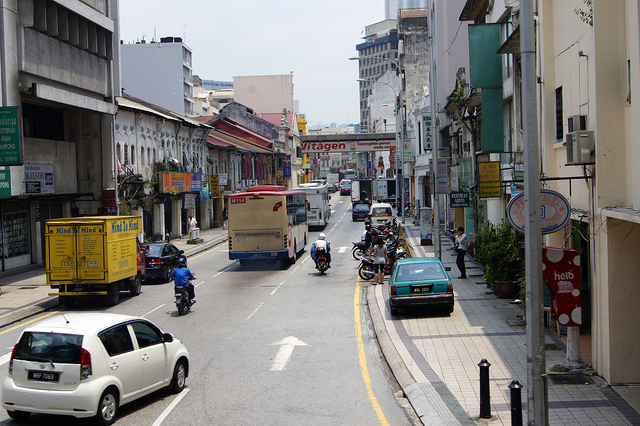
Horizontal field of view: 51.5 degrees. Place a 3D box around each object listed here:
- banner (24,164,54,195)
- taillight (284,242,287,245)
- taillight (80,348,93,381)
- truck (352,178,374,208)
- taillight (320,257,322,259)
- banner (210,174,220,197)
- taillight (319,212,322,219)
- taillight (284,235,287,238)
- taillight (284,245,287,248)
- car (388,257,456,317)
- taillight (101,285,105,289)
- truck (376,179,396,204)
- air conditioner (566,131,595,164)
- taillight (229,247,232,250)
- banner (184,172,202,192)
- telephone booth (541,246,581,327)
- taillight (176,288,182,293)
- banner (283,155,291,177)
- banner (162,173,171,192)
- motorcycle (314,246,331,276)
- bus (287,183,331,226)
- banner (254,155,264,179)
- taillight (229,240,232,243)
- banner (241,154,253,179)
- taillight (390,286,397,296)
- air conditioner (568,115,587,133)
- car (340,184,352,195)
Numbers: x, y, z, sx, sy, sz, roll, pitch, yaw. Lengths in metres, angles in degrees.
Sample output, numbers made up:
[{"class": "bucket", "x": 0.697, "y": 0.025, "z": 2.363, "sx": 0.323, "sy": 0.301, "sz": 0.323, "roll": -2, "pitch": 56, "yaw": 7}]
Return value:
[{"class": "banner", "x": -15.170, "y": -1.859, "z": 35.990, "sx": 2.251, "sy": 1.688, "sz": 0.185, "roll": 0, "pitch": 4, "yaw": 26}, {"class": "taillight", "x": -1.948, "y": 1.625, "z": 36.408, "sx": 0.110, "sy": 0.132, "sz": 0.119, "roll": -1, "pitch": -6, "yaw": -2}, {"class": "taillight", "x": -5.779, "y": 3.703, "z": 16.341, "sx": 0.262, "sy": 0.533, "sz": 0.156, "roll": -3, "pitch": 3, "yaw": 2}, {"class": "truck", "x": 5.412, "y": -3.002, "z": 84.852, "sx": 2.227, "sy": 4.807, "sz": 4.621, "roll": 0, "pitch": -1, "yaw": 1}, {"class": "taillight", "x": 0.007, "y": 2.345, "z": 35.148, "sx": 0.076, "sy": 0.051, "sz": 0.079, "roll": 7, "pitch": 10, "yaw": 40}, {"class": "banner", "x": -9.966, "y": -2.586, "z": 62.057, "sx": 0.817, "sy": 1.934, "sz": 0.366, "roll": -4, "pitch": 3, "yaw": -16}, {"class": "taillight", "x": -0.006, "y": 0.194, "z": 59.297, "sx": 0.069, "sy": 0.589, "sz": 0.358, "roll": -1, "pitch": 4, "yaw": 36}, {"class": "taillight", "x": -1.946, "y": 1.237, "z": 36.371, "sx": 0.133, "sy": 0.165, "sz": 0.144, "roll": 3, "pitch": 2, "yaw": 0}, {"class": "taillight", "x": -1.935, "y": 1.793, "z": 36.434, "sx": 0.128, "sy": 0.153, "sz": 0.143, "roll": 0, "pitch": 2, "yaw": 13}, {"class": "car", "x": 3.778, "y": 2.679, "z": 25.187, "sx": 2.277, "sy": 1.566, "sz": 1.368, "roll": -4, "pitch": 3, "yaw": 9}, {"class": "taillight", "x": -9.106, "y": 3.037, "z": 27.768, "sx": 0.127, "sy": 0.148, "sz": 0.034, "roll": -1, "pitch": 4, "yaw": -9}, {"class": "truck", "x": 8.073, "y": -2.778, "z": 81.725, "sx": 2.090, "sy": 3.491, "sz": 4.245, "roll": 0, "pitch": 2, "yaw": 7}, {"class": "air conditioner", "x": 7.359, "y": -1.868, "z": 18.899, "sx": 0.504, "sy": 0.981, "sz": 0.886, "roll": -5, "pitch": 6, "yaw": -8}, {"class": "taillight", "x": -4.934, "y": 1.896, "z": 36.378, "sx": 0.123, "sy": 0.161, "sz": 0.149, "roll": 0, "pitch": -7, "yaw": 2}, {"class": "banner", "x": -10.789, "y": -2.635, "z": 55.783, "sx": 0.509, "sy": 1.552, "sz": 1.601, "roll": -2, "pitch": -1, "yaw": 15}, {"class": "telephone booth", "x": 6.620, "y": 2.022, "z": 18.189, "sx": 0.992, "sy": 2.281, "sz": 0.602, "roll": -3, "pitch": 3, "yaw": 10}, {"class": "taillight", "x": -5.626, "y": 3.049, "z": 26.397, "sx": 0.228, "sy": 0.171, "sz": 0.109, "roll": -4, "pitch": 3, "yaw": -6}, {"class": "banner", "x": -5.039, "y": -7.015, "z": 97.704, "sx": 1.080, "sy": 3.168, "sz": 1.400, "roll": -3, "pitch": 3, "yaw": 1}, {"class": "banner", "x": -11.658, "y": -2.338, "z": 50.098, "sx": 0.109, "sy": 0.979, "sz": 1.245, "roll": -13, "pitch": 5, "yaw": 13}, {"class": "motorcycle", "x": 0.055, "y": 2.485, "z": 35.451, "sx": 0.575, "sy": 1.513, "sz": 0.814, "roll": -1, "pitch": 3, "yaw": 31}, {"class": "bus", "x": -0.792, "y": -0.652, "z": 52.170, "sx": 3.267, "sy": 4.764, "sz": 9.409, "roll": -1, "pitch": 1, "yaw": 5}, {"class": "banner", "x": -7.665, "y": -5.785, "z": 82.219, "sx": 0.963, "sy": 2.962, "sz": 3.166, "roll": -3, "pitch": 3, "yaw": 1}, {"class": "taillight", "x": -4.921, "y": 1.514, "z": 36.196, "sx": 0.095, "sy": 0.110, "sz": 0.026, "roll": -3, "pitch": -6, "yaw": -9}, {"class": "banner", "x": -8.677, "y": -5.531, "z": 78.240, "sx": 0.805, "sy": 2.866, "sz": 3.204, "roll": -2, "pitch": 3, "yaw": 13}, {"class": "taillight", "x": 2.714, "y": 2.885, "z": 24.853, "sx": 0.214, "sy": 0.281, "sz": 0.426, "roll": 1, "pitch": -27, "yaw": 7}, {"class": "air conditioner", "x": 7.381, "y": -2.561, "z": 19.051, "sx": 0.357, "sy": 0.620, "sz": 0.747, "roll": 1, "pitch": 1, "yaw": 9}, {"class": "car", "x": 4.279, "y": -4.084, "z": 114.622, "sx": 1.602, "sy": 1.712, "sz": 1.302, "roll": -3, "pitch": 3, "yaw": 11}]
